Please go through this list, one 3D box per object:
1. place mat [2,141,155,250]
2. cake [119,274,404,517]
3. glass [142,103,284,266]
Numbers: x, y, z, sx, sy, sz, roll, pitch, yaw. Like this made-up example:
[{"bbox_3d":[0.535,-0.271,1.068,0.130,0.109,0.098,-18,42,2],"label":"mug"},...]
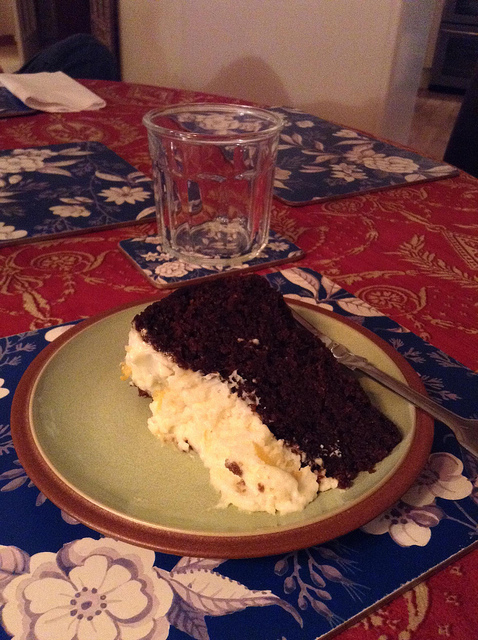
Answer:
[{"bbox_3d":[-0.295,-0.232,0.978,0.274,0.027,0.421,-15,41,-23],"label":"place mat"},{"bbox_3d":[0.011,0.053,0.484,0.160,0.055,0.185,-20,49,-19],"label":"cake"},{"bbox_3d":[-0.035,-0.165,0.796,0.186,0.230,0.129,-15,34,-26],"label":"glass"}]
